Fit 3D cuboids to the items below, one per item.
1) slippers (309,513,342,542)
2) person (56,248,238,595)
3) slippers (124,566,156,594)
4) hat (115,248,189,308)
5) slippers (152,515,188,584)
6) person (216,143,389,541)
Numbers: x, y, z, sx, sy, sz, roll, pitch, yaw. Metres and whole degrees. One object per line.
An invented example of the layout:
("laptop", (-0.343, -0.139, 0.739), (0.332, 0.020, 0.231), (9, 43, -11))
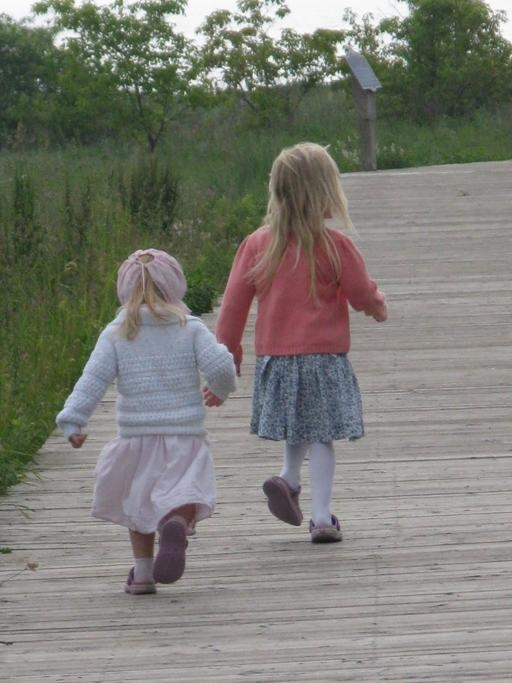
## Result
("slippers", (0.327, 0.870, 8.359), (0.150, 0.124, 0.190), (-2, 10, 2))
("person", (-0.464, 0.418, 8.127), (0.718, 1.724, 0.701), (-8, -22, 14))
("slippers", (-0.516, 1.066, 7.956), (0.109, 0.131, 0.273), (0, -2, -5))
("hat", (-0.486, -0.303, 8.226), (0.225, 0.292, 0.267), (-5, 6, -3))
("slippers", (-0.375, 0.916, 7.801), (0.112, 0.317, 0.119), (3, -4, -5))
("person", (0.218, 0.014, 8.381), (0.784, 1.799, 0.488), (-1, 9, 4))
